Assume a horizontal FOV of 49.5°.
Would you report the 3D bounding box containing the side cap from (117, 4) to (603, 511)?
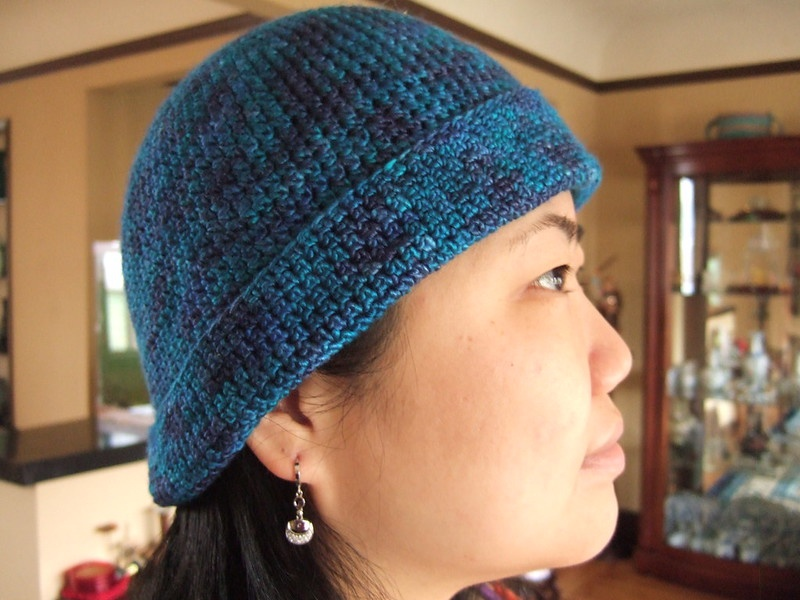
[{"bbox_3d":[-0.073,-0.145,1.745,0.785,0.714,0.818,-13,5,14],"label":"side cap"}]
